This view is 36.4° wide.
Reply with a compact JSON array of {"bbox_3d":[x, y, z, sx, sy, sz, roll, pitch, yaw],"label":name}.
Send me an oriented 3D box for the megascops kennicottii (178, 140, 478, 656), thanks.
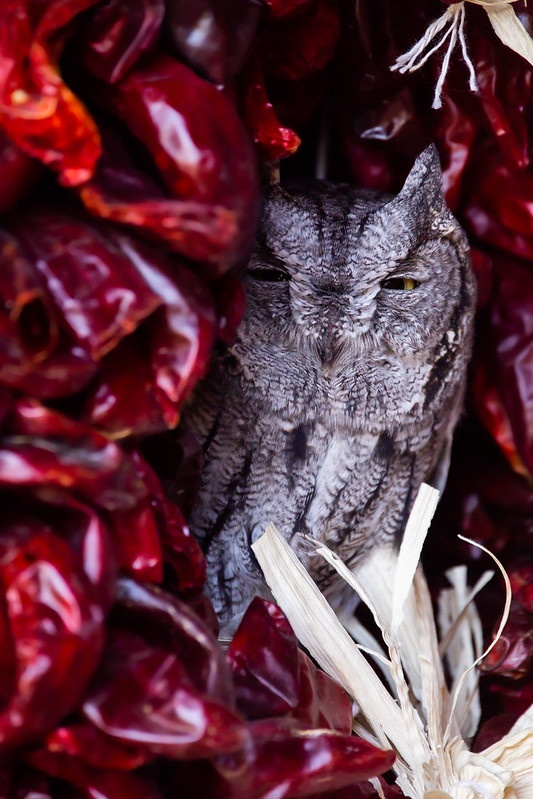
[{"bbox_3d":[0.033,0.011,0.530,0.186,0.189,0.298,12,100,38],"label":"megascops kennicottii"}]
